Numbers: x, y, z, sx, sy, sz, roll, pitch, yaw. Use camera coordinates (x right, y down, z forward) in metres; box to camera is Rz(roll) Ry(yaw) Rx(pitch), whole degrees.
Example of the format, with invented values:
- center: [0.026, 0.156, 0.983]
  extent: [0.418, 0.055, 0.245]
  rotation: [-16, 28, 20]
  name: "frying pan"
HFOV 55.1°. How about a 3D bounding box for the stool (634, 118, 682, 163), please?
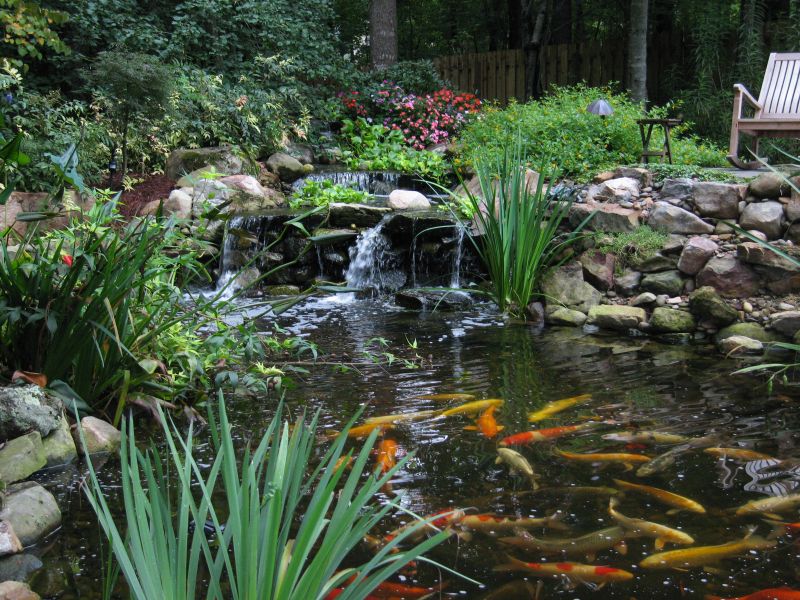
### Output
- center: [3.309, -2.050, 9.974]
  extent: [0.671, 0.623, 0.692]
  rotation: [5, 30, 19]
  name: "stool"
